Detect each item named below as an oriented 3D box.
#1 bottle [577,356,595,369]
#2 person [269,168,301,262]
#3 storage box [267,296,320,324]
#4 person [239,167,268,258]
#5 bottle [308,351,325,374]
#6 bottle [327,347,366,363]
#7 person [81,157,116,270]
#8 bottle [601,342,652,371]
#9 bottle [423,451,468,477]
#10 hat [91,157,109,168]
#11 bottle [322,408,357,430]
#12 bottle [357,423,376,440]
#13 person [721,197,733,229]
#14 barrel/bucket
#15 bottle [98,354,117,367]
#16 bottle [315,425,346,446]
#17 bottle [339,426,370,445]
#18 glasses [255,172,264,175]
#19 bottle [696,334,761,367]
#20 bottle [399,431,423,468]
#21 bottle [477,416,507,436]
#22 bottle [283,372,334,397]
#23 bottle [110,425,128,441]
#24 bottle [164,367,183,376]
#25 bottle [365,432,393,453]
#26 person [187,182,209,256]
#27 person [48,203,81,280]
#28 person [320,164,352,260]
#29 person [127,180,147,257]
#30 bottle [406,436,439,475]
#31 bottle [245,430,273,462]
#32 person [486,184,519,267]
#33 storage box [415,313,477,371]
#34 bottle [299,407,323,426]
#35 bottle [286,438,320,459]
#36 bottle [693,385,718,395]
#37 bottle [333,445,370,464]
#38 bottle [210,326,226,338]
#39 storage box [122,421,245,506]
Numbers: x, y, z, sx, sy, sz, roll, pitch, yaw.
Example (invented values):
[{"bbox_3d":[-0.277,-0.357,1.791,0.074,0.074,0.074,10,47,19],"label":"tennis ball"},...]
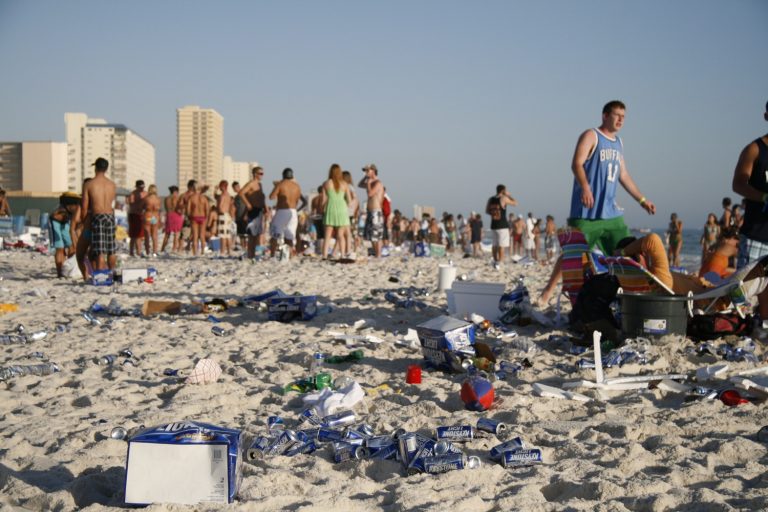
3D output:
[{"bbox_3d":[1.812,0.970,7.166,0.153,0.061,0.168,-1,11,0],"label":"bottle"},{"bbox_3d":[-1.705,-0.708,13.761,0.587,1.608,1.127,-3,10,-8],"label":"person"},{"bbox_3d":[-1.033,0.583,8.770,0.482,0.281,0.240,1,3,-7],"label":"storage box"},{"bbox_3d":[-2.390,-0.799,14.494,0.468,1.661,0.823,-3,10,-9],"label":"person"},{"bbox_3d":[-0.630,0.985,7.387,0.130,0.222,0.131,4,-1,0],"label":"bottle"},{"bbox_3d":[-0.371,0.941,7.540,0.422,0.135,0.144,-3,-9,-15],"label":"bottle"},{"bbox_3d":[-3.992,-0.560,11.141,0.448,1.584,0.711,-5,11,-20],"label":"person"},{"bbox_3d":[2.169,0.895,7.193,0.319,0.221,0.087,-4,29,-2],"label":"bottle"},{"bbox_3d":[0.435,1.476,5.743,0.250,0.106,0.150,-7,13,2],"label":"bottle"},{"bbox_3d":[-3.982,-1.295,11.159,0.194,0.145,0.265,-5,22,-34],"label":"hat"},{"bbox_3d":[-0.367,1.286,6.309,0.193,0.080,0.125,-11,31,-19],"label":"bottle"},{"bbox_3d":[-0.144,1.335,6.094,0.071,0.047,0.117,-14,32,-21],"label":"bottle"},{"bbox_3d":[6.519,-0.838,15.141,0.223,0.671,1.441,3,12,23],"label":"person"},{"bbox_3d":[2.503,0.531,7.367,0.467,0.353,0.459,1,-6,0],"label":"barrel/bucket"},{"bbox_3d":[-2.594,0.972,7.463,0.101,0.106,0.063,-29,5,26],"label":"bottle"},{"bbox_3d":[-0.421,1.368,6.095,0.213,0.140,0.127,5,-1,12],"label":"bottle"},{"bbox_3d":[-0.214,1.349,6.047,0.217,0.079,0.204,-1,11,0],"label":"bottle"},{"bbox_3d":[-2.251,-1.475,14.327,0.092,0.065,0.134,-1,11,-2],"label":"glasses"},{"bbox_3d":[3.148,0.850,7.221,0.376,0.122,0.304,-1,6,-23],"label":"bottle"},{"bbox_3d":[0.187,1.399,5.843,0.184,0.302,0.200,0,5,0],"label":"bottle"},{"bbox_3d":[0.822,1.304,6.125,0.231,0.105,0.115,0,11,8],"label":"bottle"},{"bbox_3d":[-0.640,1.109,6.921,0.264,0.090,0.210,-5,15,-13],"label":"bottle"},{"bbox_3d":[-2.018,1.334,6.066,0.096,0.102,0.073,10,14,1],"label":"bottle"},{"bbox_3d":[-1.937,1.049,7.234,0.209,0.044,0.119,9,15,42],"label":"bottle"},{"bbox_3d":[-0.041,1.396,5.979,0.138,0.072,0.138,-2,10,0],"label":"bottle"},{"bbox_3d":[-3.743,-0.749,16.005,0.415,1.518,1.401,-3,11,-13],"label":"person"},{"bbox_3d":[-4.693,-0.293,11.738,0.419,1.229,1.187,-6,11,-26],"label":"person"},{"bbox_3d":[-0.871,-0.789,14.216,0.512,1.713,1.026,-2,10,-3],"label":"person"},{"bbox_3d":[-4.884,-0.730,15.682,0.403,1.538,0.966,-4,11,-18],"label":"person"},{"bbox_3d":[0.271,1.448,5.800,0.147,0.256,0.122,15,-18,10],"label":"bottle"},{"bbox_3d":[-0.941,1.428,6.015,0.125,0.073,0.227,11,14,-3],"label":"bottle"},{"bbox_3d":[2.412,-0.495,16.079,0.652,1.741,0.563,26,46,38],"label":"person"},{"bbox_3d":[0.563,0.782,7.247,0.374,0.380,0.488,-1,4,-35],"label":"storage box"},{"bbox_3d":[-0.571,1.280,6.311,0.142,0.096,0.180,-9,13,-37],"label":"bottle"},{"bbox_3d":[-0.611,1.447,6.000,0.151,0.063,0.120,-7,18,3],"label":"bottle"},{"bbox_3d":[2.627,1.107,6.545,0.081,0.040,0.108,0,1,-19],"label":"bottle"},{"bbox_3d":[-0.252,1.465,5.923,0.265,0.113,0.118,-2,10,-5],"label":"bottle"},{"bbox_3d":[-1.736,0.791,8.335,0.082,0.045,0.139,-5,14,-40],"label":"bottle"},{"bbox_3d":[-1.389,1.432,5.443,0.570,0.383,0.594,1,-3,-6],"label":"storage box"}]
